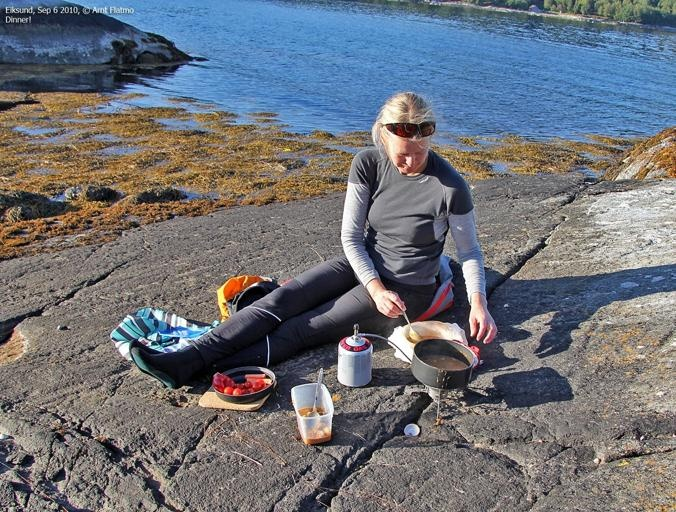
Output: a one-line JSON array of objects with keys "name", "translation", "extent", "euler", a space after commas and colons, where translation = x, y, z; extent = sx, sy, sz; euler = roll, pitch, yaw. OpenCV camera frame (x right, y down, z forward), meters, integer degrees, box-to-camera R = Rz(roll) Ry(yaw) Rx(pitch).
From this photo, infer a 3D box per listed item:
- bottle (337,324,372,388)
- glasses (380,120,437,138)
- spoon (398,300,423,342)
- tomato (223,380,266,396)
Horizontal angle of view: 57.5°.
[{"name": "bottle", "translation": [0.140, 0.783, 4.664], "extent": [0.293, 0.417, 0.238], "euler": [13, 28, 9]}, {"name": "glasses", "translation": [0.531, -0.958, 4.616], "extent": [0.395, 0.135, 0.197], "euler": [5, 22, 1]}, {"name": "spoon", "translation": [0.551, 0.525, 4.873], "extent": [0.074, 0.087, 0.347], "euler": [16, 38, -59]}, {"name": "tomato", "translation": [-0.660, 0.967, 4.502], "extent": [0.232, 0.043, 0.105], "euler": [-2, 2, -17]}]
